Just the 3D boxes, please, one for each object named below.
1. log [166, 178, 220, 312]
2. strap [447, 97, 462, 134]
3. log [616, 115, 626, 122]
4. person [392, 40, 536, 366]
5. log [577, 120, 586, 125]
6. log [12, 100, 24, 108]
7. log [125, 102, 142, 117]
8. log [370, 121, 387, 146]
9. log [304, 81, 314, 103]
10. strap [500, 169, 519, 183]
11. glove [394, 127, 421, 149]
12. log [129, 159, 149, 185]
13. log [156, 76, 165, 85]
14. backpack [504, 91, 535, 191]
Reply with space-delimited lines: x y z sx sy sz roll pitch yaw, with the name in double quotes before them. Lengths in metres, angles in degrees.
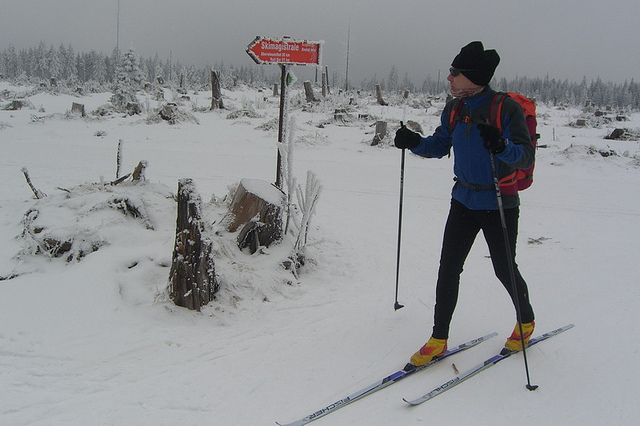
"log" -1.573 0.397 5.778 0.508 1.544 0.505 12 20 30
"strap" 1.450 -1.064 5.193 0.183 0.283 0.261 -2 21 8
"log" 14.387 -4.490 22.684 0.407 0.113 0.418 -1 39 15
"person" 1.644 -0.070 5.073 1.522 3.281 0.809 11 19 27
"log" 10.951 -3.753 19.995 0.309 0.204 0.317 1 23 6
"log" -11.220 -4.010 17.587 0.260 0.102 0.297 -4 28 -21
"log" -6.951 -3.873 17.804 0.508 0.407 1.167 -5 20 -21
"log" 1.828 -2.437 14.673 0.326 0.693 0.690 13 21 31
"log" -0.492 -5.429 21.406 0.448 0.874 1.016 1 18 -3
"strap" 1.993 -0.368 4.971 0.140 0.043 0.135 -19 33 -36
"glove" 0.984 -0.819 5.338 0.289 0.251 0.193 6 18 11
"log" -2.943 -0.646 7.592 0.392 0.371 0.145 14 21 33
"log" -10.415 -8.393 30.975 0.585 0.168 0.679 24 40 -42
"backpack" 2.138 -0.731 5.116 0.381 1.062 0.535 9 19 23
